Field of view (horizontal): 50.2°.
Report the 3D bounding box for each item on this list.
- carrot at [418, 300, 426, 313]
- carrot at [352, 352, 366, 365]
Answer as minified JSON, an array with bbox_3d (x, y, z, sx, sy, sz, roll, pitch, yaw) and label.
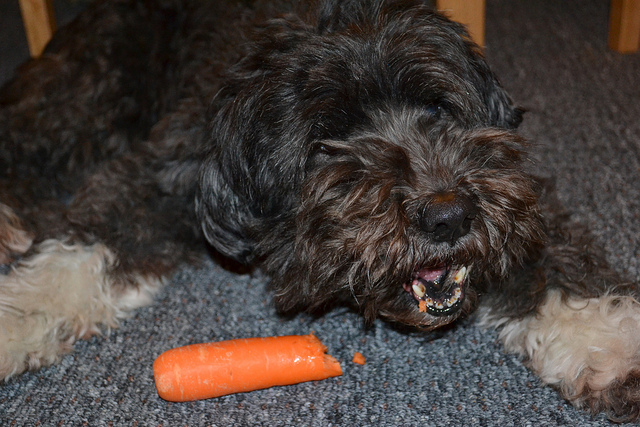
[{"bbox_3d":[0.499,0.454,3.355,0.046,0.015,0.061,-1,88,3],"label":"carrot"},{"bbox_3d":[0.193,0.721,3.404,0.052,0.022,0.044,30,69,22],"label":"carrot"}]
